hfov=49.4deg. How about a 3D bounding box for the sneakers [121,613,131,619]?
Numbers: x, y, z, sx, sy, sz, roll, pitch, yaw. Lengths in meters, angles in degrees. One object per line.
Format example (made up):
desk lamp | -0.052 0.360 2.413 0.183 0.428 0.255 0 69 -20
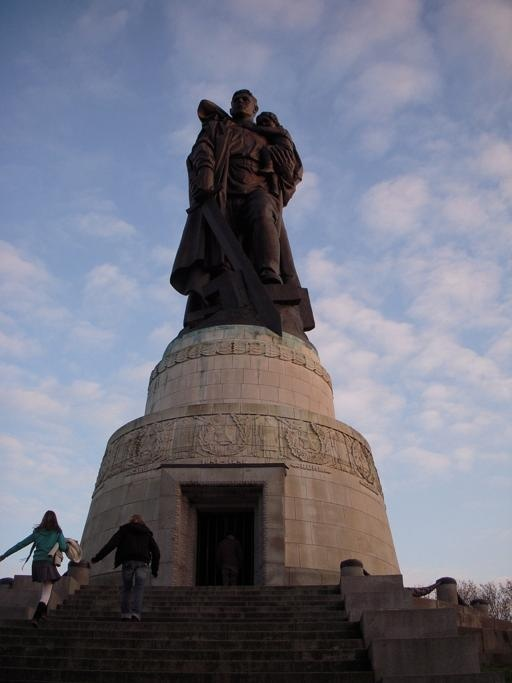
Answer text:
sneakers | -1.645 3.524 7.166 0.128 0.064 0.069 -2 -29 3

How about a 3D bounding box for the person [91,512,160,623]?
person | -1.681 2.962 7.452 0.745 1.356 0.541 6 -31 -11

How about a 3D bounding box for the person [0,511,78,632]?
person | -2.885 3.059 7.627 0.780 1.428 2.178 7 -30 -13

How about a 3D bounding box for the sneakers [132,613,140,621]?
sneakers | -1.527 3.557 7.214 0.057 0.069 0.154 -4 -59 5

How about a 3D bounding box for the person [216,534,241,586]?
person | -0.577 4.765 12.311 0.521 1.090 0.408 1 -30 -3
